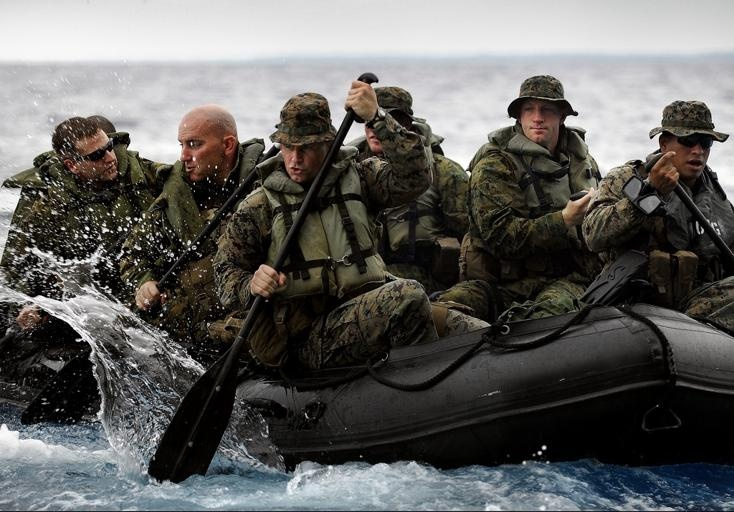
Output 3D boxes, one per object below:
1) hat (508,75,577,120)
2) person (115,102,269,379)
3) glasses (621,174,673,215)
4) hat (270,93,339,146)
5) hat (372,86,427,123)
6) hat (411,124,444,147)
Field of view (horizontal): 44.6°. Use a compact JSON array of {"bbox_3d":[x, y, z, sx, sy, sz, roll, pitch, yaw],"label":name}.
[{"bbox_3d":[1.399,-1.279,7.178,0.604,0.337,0.699,0,7,31],"label":"hat"},{"bbox_3d":[-1.363,-0.223,6.610,1.325,1.711,0.675,5,-8,24],"label":"person"},{"bbox_3d":[1.759,-0.387,5.675,0.208,0.126,0.300,42,7,24],"label":"glasses"},{"bbox_3d":[-0.392,-0.872,5.665,0.441,0.256,0.503,20,26,40],"label":"hat"},{"bbox_3d":[0.268,-1.372,7.955,0.534,0.230,0.511,9,18,-14],"label":"hat"},{"bbox_3d":[0.563,-1.062,7.926,0.255,0.090,0.230,32,-3,-32],"label":"hat"}]
